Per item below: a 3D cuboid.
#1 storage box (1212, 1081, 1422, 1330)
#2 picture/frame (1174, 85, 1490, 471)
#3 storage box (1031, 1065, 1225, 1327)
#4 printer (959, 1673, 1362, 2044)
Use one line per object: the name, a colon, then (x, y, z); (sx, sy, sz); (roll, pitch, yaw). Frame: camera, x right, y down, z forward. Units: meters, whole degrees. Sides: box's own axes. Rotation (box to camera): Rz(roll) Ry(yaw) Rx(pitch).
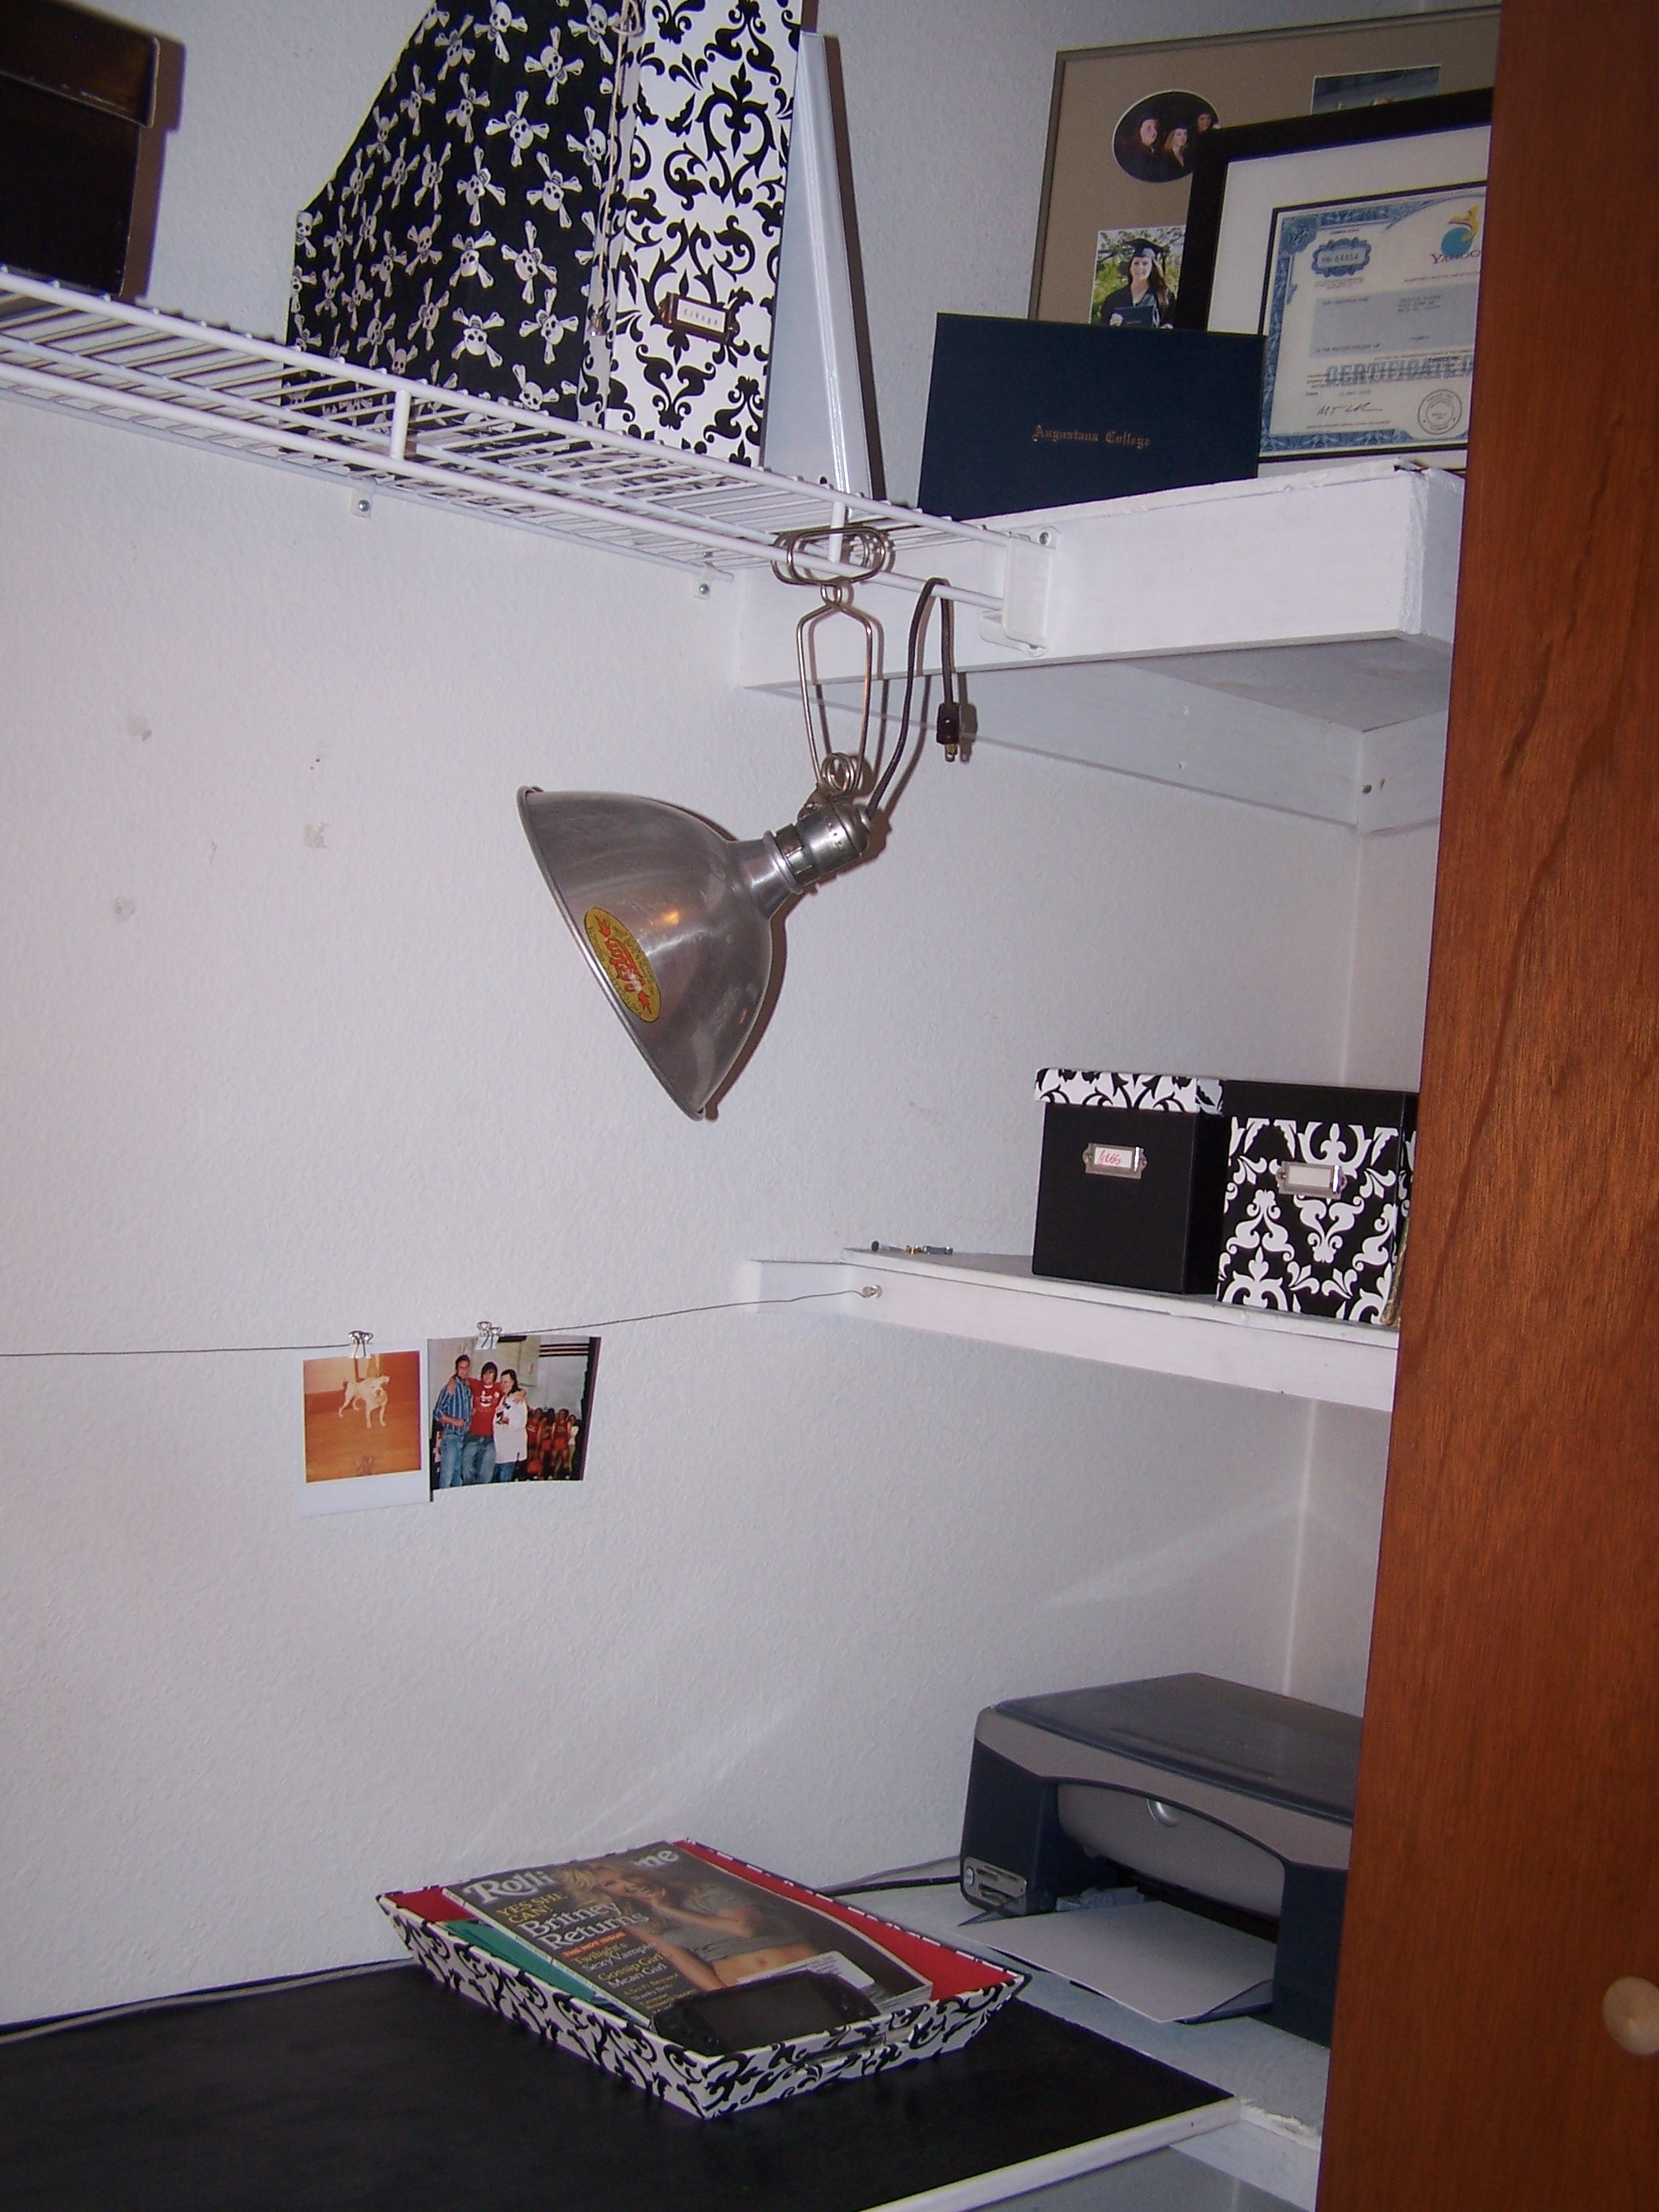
storage box: (0.363, 0.074, 1.234); (0.096, 0.163, 0.128); (7, -2, 13)
picture/frame: (0.426, -0.620, 1.306); (0.274, 0.277, 0.020); (-14, 24, -16)
storage box: (0.243, 0.070, 1.325); (0.157, 0.156, 0.100); (6, -9, 33)
printer: (0.279, 0.589, 1.380); (0.271, 0.177, 0.350); (7, -7, -30)
